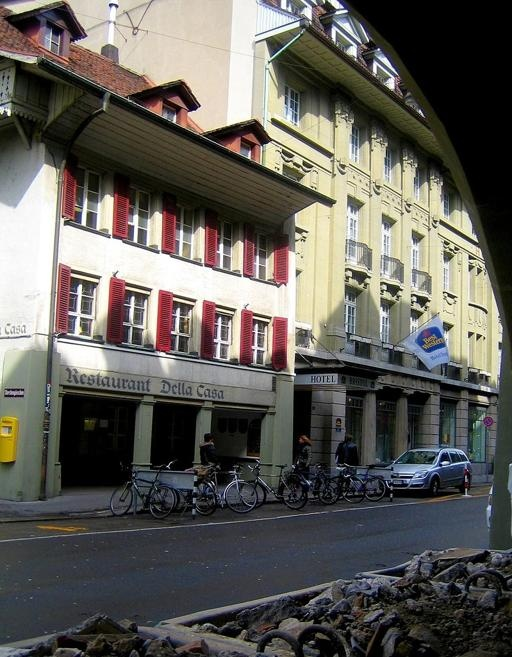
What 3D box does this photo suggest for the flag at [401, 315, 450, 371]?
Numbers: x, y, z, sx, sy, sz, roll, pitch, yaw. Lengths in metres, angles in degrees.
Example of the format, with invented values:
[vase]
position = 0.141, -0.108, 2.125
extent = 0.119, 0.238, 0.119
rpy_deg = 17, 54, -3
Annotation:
[flag]
position = 7.544, 0.627, 31.375
extent = 2.820, 2.988, 0.482
rpy_deg = -3, -3, -26

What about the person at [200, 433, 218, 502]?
[person]
position = -1.072, 3.091, 15.701
extent = 0.388, 1.348, 1.062
rpy_deg = 1, -7, -4

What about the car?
[car]
position = 5.778, 4.703, 23.156
extent = 1.592, 1.150, 3.406
rpy_deg = -8, -16, 33
